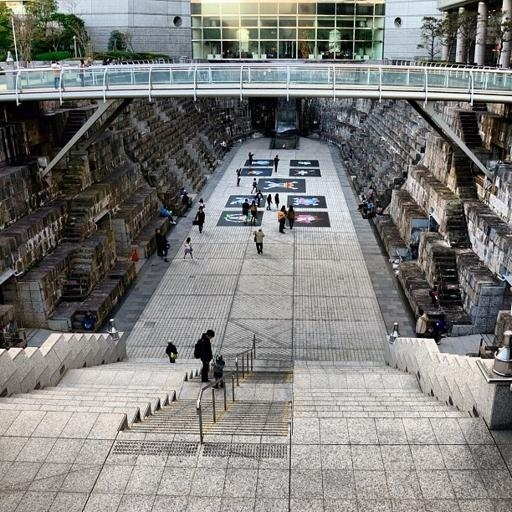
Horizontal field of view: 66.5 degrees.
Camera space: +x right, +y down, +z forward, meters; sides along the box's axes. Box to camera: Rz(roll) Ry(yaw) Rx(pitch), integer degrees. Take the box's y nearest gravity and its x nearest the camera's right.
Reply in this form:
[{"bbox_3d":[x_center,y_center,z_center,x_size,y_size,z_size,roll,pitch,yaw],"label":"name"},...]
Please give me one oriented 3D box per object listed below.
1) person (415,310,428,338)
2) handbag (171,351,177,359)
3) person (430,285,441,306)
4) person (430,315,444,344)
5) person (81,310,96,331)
[{"bbox_3d":[6.797,2.828,16.082,0.468,1.036,0.509,-4,-6,22],"label":"person"},{"bbox_3d":[-2.969,3.567,14.070,0.270,0.255,0.061,2,14,-17],"label":"handbag"},{"bbox_3d":[7.914,1.782,17.274,0.522,0.579,1.191,14,5,14],"label":"person"},{"bbox_3d":[7.332,2.963,15.828,0.504,1.043,1.098,-4,-6,24],"label":"person"},{"bbox_3d":[-7.186,2.823,16.867,0.473,0.846,0.843,2,-7,-36],"label":"person"}]
